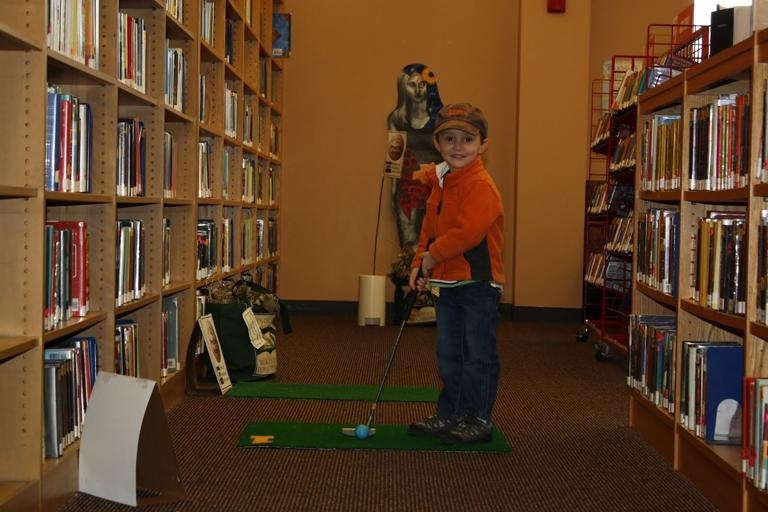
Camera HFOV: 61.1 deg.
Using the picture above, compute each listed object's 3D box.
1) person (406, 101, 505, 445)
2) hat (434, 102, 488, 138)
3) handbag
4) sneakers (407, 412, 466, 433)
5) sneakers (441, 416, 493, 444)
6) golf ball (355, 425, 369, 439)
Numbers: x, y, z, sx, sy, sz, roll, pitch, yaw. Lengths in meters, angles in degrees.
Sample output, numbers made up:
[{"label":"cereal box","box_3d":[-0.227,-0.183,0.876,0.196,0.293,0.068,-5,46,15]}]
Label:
[{"label":"person","box_3d":[0.407,0.086,3.574,0.505,1.817,0.407,3,5,20]},{"label":"hat","box_3d":[0.422,-0.730,3.525,0.283,0.194,0.188,2,6,4]},{"label":"handbag","box_3d":[-0.969,0.562,4.536,0.455,0.509,0.500,0,1,-1]},{"label":"sneakers","box_3d":[0.294,0.938,3.602,0.302,0.138,0.118,2,-1,7]},{"label":"sneakers","box_3d":[0.466,0.922,3.503,0.236,0.118,0.124,2,4,3]},{"label":"golf ball","box_3d":[-0.108,0.958,3.542,0.084,0.076,0.073,0,6,-12]}]
